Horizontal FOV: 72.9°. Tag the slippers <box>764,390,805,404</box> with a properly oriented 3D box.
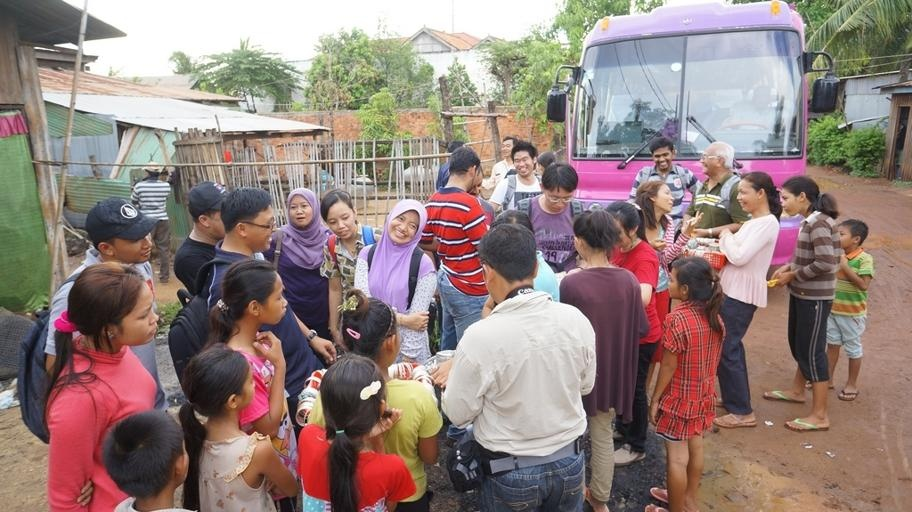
[{"bbox_3d":[4.247,1.829,7.983,0.447,0.114,0.184,3,7,23],"label":"slippers"}]

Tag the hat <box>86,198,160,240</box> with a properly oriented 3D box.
[{"bbox_3d":[-3.390,-0.327,6.226,0.589,0.330,0.395,-14,27,0],"label":"hat"}]

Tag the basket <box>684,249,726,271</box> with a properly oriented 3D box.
[{"bbox_3d":[3.138,0.035,7.647,0.289,0.190,0.585,-7,12,-25],"label":"basket"}]

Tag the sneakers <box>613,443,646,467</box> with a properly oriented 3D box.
[{"bbox_3d":[1.985,2.350,7.199,0.463,0.182,0.174,1,-1,-14],"label":"sneakers"}]

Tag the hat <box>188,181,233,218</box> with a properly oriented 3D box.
[{"bbox_3d":[-2.699,-0.608,6.715,0.489,0.261,0.310,-22,30,-7],"label":"hat"}]

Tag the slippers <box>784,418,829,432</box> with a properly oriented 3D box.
[{"bbox_3d":[4.285,2.092,7.535,0.367,0.091,0.207,1,6,13],"label":"slippers"}]

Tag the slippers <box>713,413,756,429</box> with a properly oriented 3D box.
[{"bbox_3d":[3.432,2.056,7.587,0.415,0.129,0.214,2,7,9],"label":"slippers"}]

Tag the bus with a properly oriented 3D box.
[{"bbox_3d":[4.711,-2.498,12.308,3.782,3.558,6.161,1,6,21],"label":"bus"}]
